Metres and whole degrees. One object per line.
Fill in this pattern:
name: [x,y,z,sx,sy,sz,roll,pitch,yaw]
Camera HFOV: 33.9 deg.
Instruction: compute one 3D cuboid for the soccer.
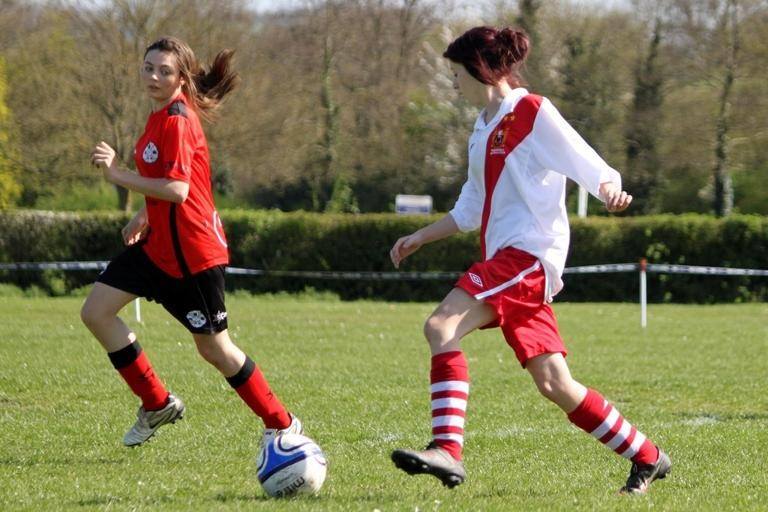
soccer: [-1.227,2.758,16.282,0.834,0.825,0.766,-17,1,6]
